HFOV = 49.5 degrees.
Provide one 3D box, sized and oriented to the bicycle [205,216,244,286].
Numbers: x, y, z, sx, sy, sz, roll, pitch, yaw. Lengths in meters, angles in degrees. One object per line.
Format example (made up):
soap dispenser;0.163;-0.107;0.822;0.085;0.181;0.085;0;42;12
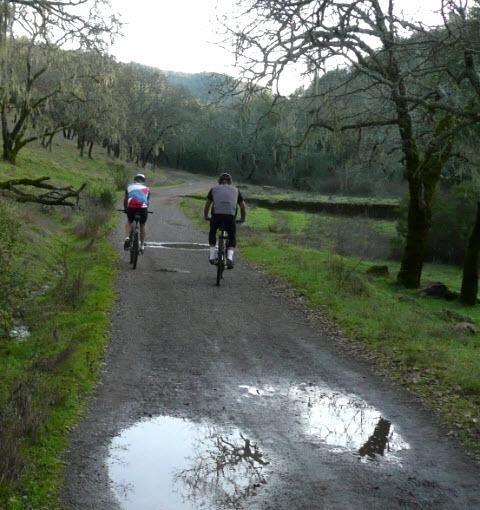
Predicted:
bicycle;-0.456;-0.188;12.485;0.881;1.623;2.347;9;13;-3

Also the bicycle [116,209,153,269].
bicycle;-2.783;-0.395;13.691;0.713;1.301;1.769;4;11;-8

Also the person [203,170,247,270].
person;-0.364;-0.727;11.784;0.909;2.158;0.602;2;6;-6
